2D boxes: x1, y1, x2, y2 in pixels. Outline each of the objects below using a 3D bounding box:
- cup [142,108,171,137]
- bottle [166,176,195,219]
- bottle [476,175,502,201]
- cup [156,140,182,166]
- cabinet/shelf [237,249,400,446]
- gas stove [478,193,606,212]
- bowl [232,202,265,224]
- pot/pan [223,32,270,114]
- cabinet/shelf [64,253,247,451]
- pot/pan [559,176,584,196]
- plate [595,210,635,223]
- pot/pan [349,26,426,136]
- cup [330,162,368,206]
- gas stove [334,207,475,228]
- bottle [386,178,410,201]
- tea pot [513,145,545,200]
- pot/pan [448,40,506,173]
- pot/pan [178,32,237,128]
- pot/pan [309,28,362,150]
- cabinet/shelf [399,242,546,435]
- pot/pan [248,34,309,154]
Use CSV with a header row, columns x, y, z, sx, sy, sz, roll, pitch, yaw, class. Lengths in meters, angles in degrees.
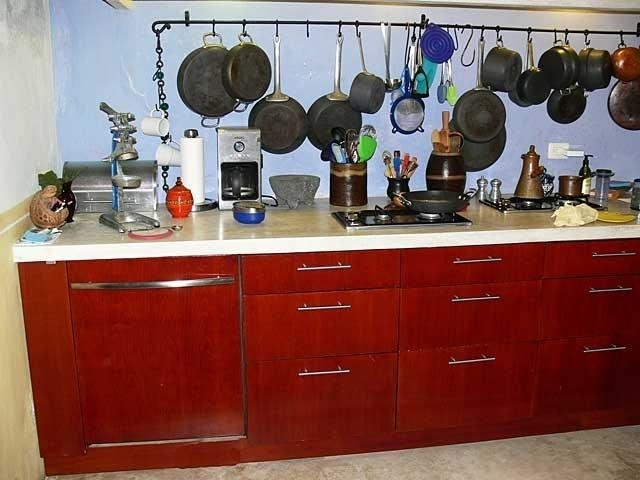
x,y,z,sx,sy,sz,roll,pitch,yaw,class
-0.846,-0.586,2.846,0.116,0.174,0.128,1,-3,10,cup
-0.696,-0.213,2.744,0.128,0.194,0.164,4,13,19,bottle
0.955,-0.292,3.111,0.155,0.164,0.072,5,8,41,bottle
-0.784,-0.442,2.854,0.119,0.123,0.143,1,12,7,cup
-0.024,0.425,2.804,0.751,1.033,0.668,-1,17,-4,cabinet/shelf
1.175,-0.203,2.972,0.555,0.053,0.290,-1,12,-3,gas stove
-0.346,-0.131,2.626,0.123,0.069,0.112,2,6,0,bowl
-0.384,-0.850,2.839,0.210,0.387,0.072,4,-1,-39,pot/pan
-0.708,0.438,2.725,0.857,0.930,0.840,-10,20,-34,cabinet/shelf
1.379,-0.295,3.008,0.106,0.100,0.108,4,5,39,pot/pan
1.465,-0.113,2.673,0.245,0.045,0.120,-3,13,-10,plate
0.409,-0.819,3.000,0.352,0.596,0.095,-9,10,-23,pot/pan
0.148,-0.296,2.874,0.204,0.238,0.209,0,7,0,cup
0.384,-0.121,2.706,0.626,0.061,0.372,-3,13,-11,gas stove
0.429,-0.270,2.951,0.109,0.097,0.112,1,14,1,bottle
1.188,-0.381,3.044,0.146,0.287,0.235,10,16,40,tea pot
0.904,-0.751,3.108,0.345,0.691,0.097,-5,13,-12,pot/pan
-0.578,-0.810,2.792,0.289,0.441,0.089,0,13,-22,pot/pan
0.074,-0.825,3.004,0.299,0.644,0.125,0,12,4,pot/pan
0.692,0.413,2.872,0.774,0.998,0.687,-5,13,-11,cabinet/shelf
-0.227,-0.745,2.910,0.317,0.617,0.085,-5,10,-13,pot/pan
